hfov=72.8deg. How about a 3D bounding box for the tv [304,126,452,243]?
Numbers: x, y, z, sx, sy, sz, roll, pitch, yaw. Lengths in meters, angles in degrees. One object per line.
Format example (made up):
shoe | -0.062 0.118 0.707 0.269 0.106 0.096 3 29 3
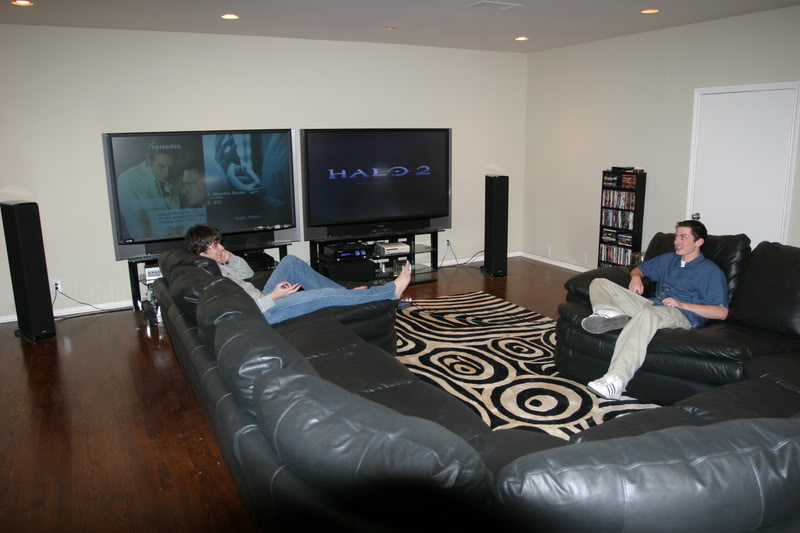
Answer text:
tv | -0.239 -0.988 6.386 1.836 1.242 0.157 -7 13 -23

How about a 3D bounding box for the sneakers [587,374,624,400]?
sneakers | 1.385 0.810 3.714 0.281 0.113 0.133 11 4 -25

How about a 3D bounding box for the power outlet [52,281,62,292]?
power outlet | -3.516 0.199 5.577 0.101 0.111 0.067 0 10 -16

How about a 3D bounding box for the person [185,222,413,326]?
person | -0.713 0.086 4.350 1.784 1.004 0.738 -8 21 -17

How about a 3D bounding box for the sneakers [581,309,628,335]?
sneakers | 1.459 0.386 3.894 0.359 0.145 0.161 0 5 -4

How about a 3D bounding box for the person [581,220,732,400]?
person | 1.853 0.323 4.218 1.493 0.937 0.925 -15 19 -15

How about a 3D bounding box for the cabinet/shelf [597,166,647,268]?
cabinet/shelf | 2.535 -0.669 6.341 0.377 0.977 0.117 7 -22 17

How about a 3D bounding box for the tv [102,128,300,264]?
tv | -2.092 -0.740 5.455 1.420 0.945 0.398 -8 13 -27

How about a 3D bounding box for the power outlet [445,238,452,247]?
power outlet | 0.639 -0.335 7.356 0.103 0.092 0.173 -1 -12 9
